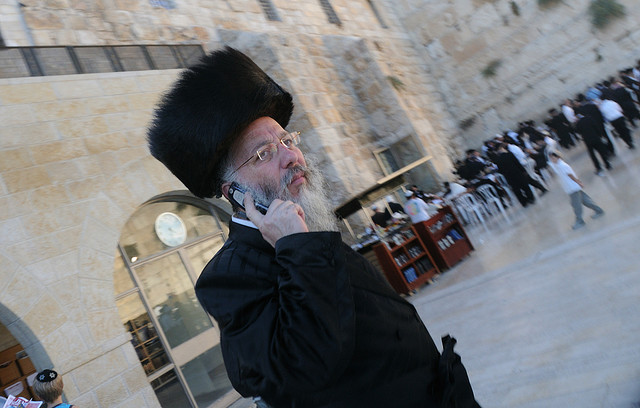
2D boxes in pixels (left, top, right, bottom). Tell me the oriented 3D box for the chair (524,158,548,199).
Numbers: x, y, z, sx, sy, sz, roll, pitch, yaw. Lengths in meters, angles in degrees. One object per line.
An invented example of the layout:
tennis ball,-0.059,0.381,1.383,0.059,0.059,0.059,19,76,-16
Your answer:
chair,6.419,-0.752,12.330,0.310,1.093,0.624,-27,6,8

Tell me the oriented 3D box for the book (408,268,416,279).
book,2.186,1.676,9.812,0.057,0.275,0.079,-37,0,-27

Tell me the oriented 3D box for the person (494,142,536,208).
person,5.698,-0.766,12.038,0.531,1.968,0.523,-34,-16,21

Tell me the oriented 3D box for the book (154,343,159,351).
book,-3.146,2.733,7.862,0.031,0.133,0.053,-26,-15,-6

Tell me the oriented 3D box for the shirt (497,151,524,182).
shirt,5.569,-1.084,12.098,0.214,0.920,0.615,-39,-43,-27

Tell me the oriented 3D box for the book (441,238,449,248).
book,3.099,0.992,10.239,0.043,0.212,0.051,-32,-23,-11

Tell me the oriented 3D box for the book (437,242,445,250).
book,2.969,1.047,10.164,0.025,0.223,0.033,-25,-23,-37

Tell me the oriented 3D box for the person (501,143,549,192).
person,6.135,-1.021,12.340,0.401,1.837,0.273,-38,-19,14

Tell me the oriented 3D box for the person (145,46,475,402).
person,-0.327,0.319,3.326,1.489,3.342,0.703,-26,-15,-5

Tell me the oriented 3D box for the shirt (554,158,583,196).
shirt,5.297,-0.587,8.866,0.322,0.879,0.330,-34,-16,24

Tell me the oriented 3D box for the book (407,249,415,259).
book,2.204,1.217,10.019,0.042,0.154,0.161,-43,-24,24

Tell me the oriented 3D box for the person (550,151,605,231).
person,5.309,-0.321,8.848,0.715,1.920,0.540,-33,-15,19

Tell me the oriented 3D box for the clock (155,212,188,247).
clock,-3.194,0.572,8.679,0.085,0.746,0.807,-26,-13,29

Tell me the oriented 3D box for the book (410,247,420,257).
book,2.305,1.182,10.066,0.063,0.247,0.048,-51,-35,12
